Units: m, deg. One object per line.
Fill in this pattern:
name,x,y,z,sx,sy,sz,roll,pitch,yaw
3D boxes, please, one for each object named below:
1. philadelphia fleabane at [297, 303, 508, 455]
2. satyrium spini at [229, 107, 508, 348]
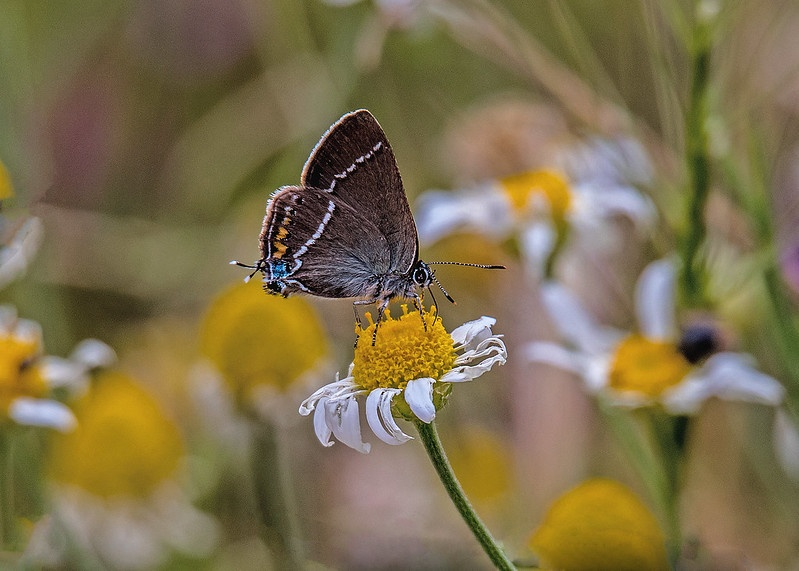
philadelphia fleabane,0.004,0.076,0.860,0.141,0.067,0.139,-35,20,-19
satyrium spini,-0.041,-0.043,0.914,0.194,0.193,0.161,0,80,4
